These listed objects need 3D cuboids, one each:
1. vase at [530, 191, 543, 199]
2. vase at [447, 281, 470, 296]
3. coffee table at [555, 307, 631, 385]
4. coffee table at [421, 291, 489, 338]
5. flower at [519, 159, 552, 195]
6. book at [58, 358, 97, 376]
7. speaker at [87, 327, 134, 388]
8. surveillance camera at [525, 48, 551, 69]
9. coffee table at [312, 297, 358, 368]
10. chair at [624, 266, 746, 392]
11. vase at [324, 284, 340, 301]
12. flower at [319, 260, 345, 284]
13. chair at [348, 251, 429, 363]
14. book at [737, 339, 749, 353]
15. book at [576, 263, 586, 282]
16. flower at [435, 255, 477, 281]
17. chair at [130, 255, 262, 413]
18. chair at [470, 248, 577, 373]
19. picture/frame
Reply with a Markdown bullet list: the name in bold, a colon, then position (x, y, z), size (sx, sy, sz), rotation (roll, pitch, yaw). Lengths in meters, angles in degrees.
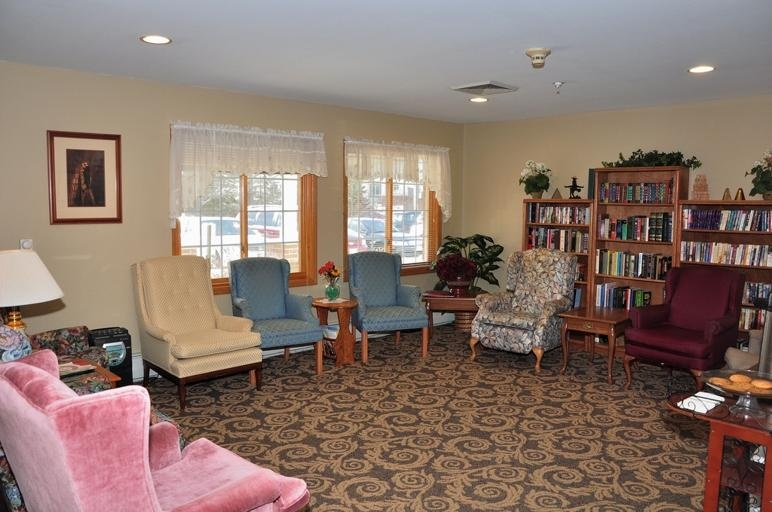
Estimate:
- **vase**: position (2.286, -0.918, 8.001), size (0.141, 0.097, 0.122), rotation (0, 5, 0)
- **vase**: position (1.045, 0.461, 7.672), size (0.258, 0.174, 0.234), rotation (1, 1, 34)
- **coffee table**: position (2.395, 1.185, 6.804), size (1.067, 0.688, 1.024), rotation (-5, -21, 32)
- **coffee table**: position (1.050, 0.875, 7.865), size (0.937, 0.564, 0.523), rotation (-1, -2, 9)
- **flower**: position (2.206, -1.137, 8.016), size (0.574, 0.499, 0.537), rotation (-4, -4, -1)
- **book**: position (-2.634, 0.944, 4.480), size (0.272, 0.060, 0.295), rotation (4, 4, 42)
- **speaker**: position (-3.023, 1.094, 5.743), size (0.389, 0.571, 0.357), rotation (-3, 9, -39)
- **surveillance camera**: position (1.424, -1.857, 4.972), size (0.182, 0.089, 0.168), rotation (-1, 7, -1)
- **coffee table**: position (-0.687, 1.023, 7.003), size (0.553, 0.720, 0.818), rotation (0, -2, -29)
- **chair**: position (3.466, 0.778, 6.135), size (1.124, 1.240, 1.017), rotation (-10, 12, -42)
- **vase**: position (-0.690, 0.463, 6.835), size (0.211, 0.246, 0.195), rotation (1, -7, -1)
- **flower**: position (-0.718, 0.196, 6.901), size (0.369, 0.320, 0.318), rotation (0, -17, 3)
- **chair**: position (-0.055, 0.626, 7.350), size (1.005, 1.274, 1.035), rotation (-1, 7, -24)
- **book**: position (4.024, 1.016, 5.956), size (0.090, 0.081, 0.165), rotation (15, 12, 28)
- **book**: position (2.819, 0.236, 7.626), size (0.136, 0.238, 0.188), rotation (4, 11, 19)
- **flower**: position (0.990, 0.179, 7.626), size (0.471, 0.273, 0.435), rotation (2, 0, -7)
- **chair**: position (-2.178, 0.737, 5.924), size (1.312, 1.245, 1.035), rotation (13, 13, 37)
- **chair**: position (1.820, 0.667, 7.108), size (1.149, 1.418, 1.108), rotation (6, 12, 28)
- **picture/frame**: position (-3.345, -0.864, 5.860), size (0.732, 1.011, 0.223), rotation (-4, 12, -23)
